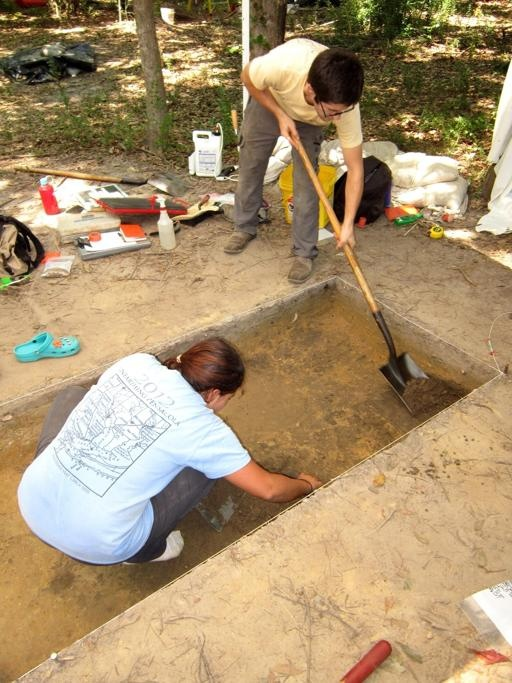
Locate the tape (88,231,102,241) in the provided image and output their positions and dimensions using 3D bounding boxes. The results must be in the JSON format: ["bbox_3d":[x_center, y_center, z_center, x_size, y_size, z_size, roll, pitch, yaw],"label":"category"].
[{"bbox_3d":[-1.189,-0.770,3.981,0.066,0.029,0.089,-6,46,-10],"label":"tape"}]

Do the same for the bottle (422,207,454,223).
[{"bbox_3d":[1.483,-1.025,4.437,0.191,0.071,0.132,17,44,27],"label":"bottle"}]

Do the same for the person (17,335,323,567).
[{"bbox_3d":[-0.354,0.273,2.296,1.196,0.824,1.087,-8,33,-22],"label":"person"}]

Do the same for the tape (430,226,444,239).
[{"bbox_3d":[1.377,-0.832,4.196,0.109,0.057,0.101,-8,53,-5],"label":"tape"}]

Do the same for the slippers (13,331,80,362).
[{"bbox_3d":[-1.159,0.038,3.061,0.378,0.142,0.141,-10,50,-14],"label":"slippers"}]

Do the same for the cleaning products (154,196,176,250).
[{"bbox_3d":[-0.687,-0.928,4.106,0.130,0.347,0.509,-5,32,-9],"label":"cleaning products"}]

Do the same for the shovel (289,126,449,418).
[{"bbox_3d":[0.706,-0.319,3.136,0.375,1.152,1.139,-16,36,-24],"label":"shovel"}]

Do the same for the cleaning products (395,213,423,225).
[{"bbox_3d":[1.226,-0.988,4.359,0.190,0.049,0.107,-13,36,-8],"label":"cleaning products"}]

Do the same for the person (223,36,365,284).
[{"bbox_3d":[0.140,-0.919,3.337,0.964,1.623,0.856,7,36,1],"label":"person"}]

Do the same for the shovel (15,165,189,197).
[{"bbox_3d":[-1.390,-1.531,5.080,1.632,0.101,0.343,10,32,15],"label":"shovel"}]
